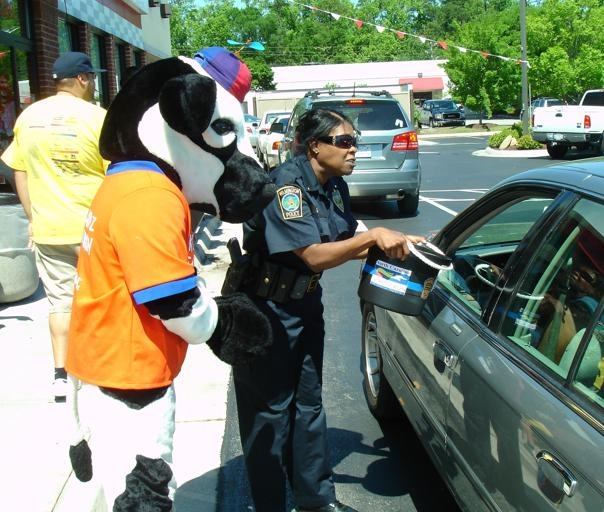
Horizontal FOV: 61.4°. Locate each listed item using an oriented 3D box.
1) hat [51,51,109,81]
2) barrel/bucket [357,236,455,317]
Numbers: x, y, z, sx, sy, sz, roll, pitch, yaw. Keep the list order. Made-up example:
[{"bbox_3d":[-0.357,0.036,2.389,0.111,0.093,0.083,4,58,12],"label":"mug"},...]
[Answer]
[{"bbox_3d":[-1.558,-1.320,3.598,0.329,0.170,0.214,-21,33,-32],"label":"hat"},{"bbox_3d":[0.425,0.090,2.325,0.347,0.243,0.341,26,0,0],"label":"barrel/bucket"}]
